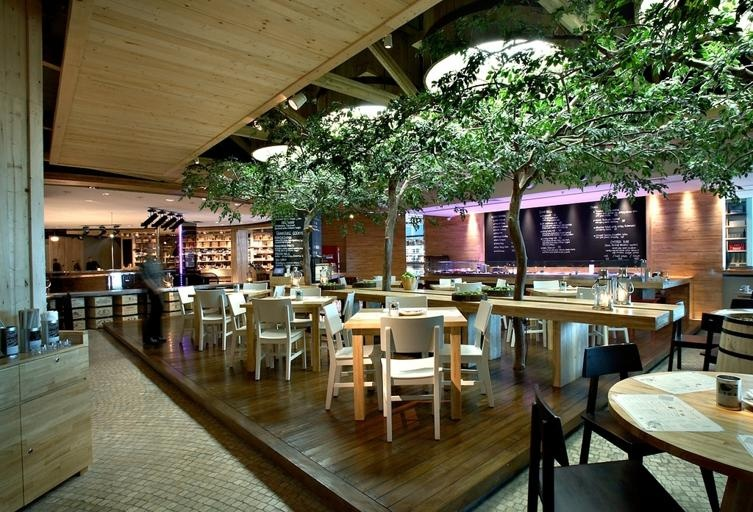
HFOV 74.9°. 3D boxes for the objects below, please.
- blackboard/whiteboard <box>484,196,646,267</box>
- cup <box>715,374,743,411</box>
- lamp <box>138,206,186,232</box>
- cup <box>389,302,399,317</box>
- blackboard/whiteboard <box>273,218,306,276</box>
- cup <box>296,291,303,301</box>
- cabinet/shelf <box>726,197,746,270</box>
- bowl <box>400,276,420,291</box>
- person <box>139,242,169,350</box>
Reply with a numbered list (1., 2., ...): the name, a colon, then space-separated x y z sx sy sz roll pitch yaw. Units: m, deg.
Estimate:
1. blackboard/whiteboard: 4.464 -0.489 11.809 3.744 1.876 0.453 8 19 45
2. cup: 2.408 0.909 3.351 0.152 0.205 0.188 5 16 35
3. lamp: -6.640 -1.149 15.189 1.148 0.432 1.286 5 -12 -43
4. cup: 0.192 0.585 5.425 0.111 0.185 0.108 -1 -4 0
5. blackboard/whiteboard: -2.226 -0.309 12.315 0.800 1.218 0.737 -2 13 9
6. cup: -1.116 0.567 7.060 0.124 0.132 0.125 0 -7 0
7. cabinet/shelf: 7.222 -0.439 9.850 0.458 1.332 0.689 6 17 37
8. bowl: 0.536 0.442 7.957 0.244 0.158 0.233 -1 -7 0
9. person: -3.918 0.799 8.583 0.474 1.518 1.528 -10 14 -22
